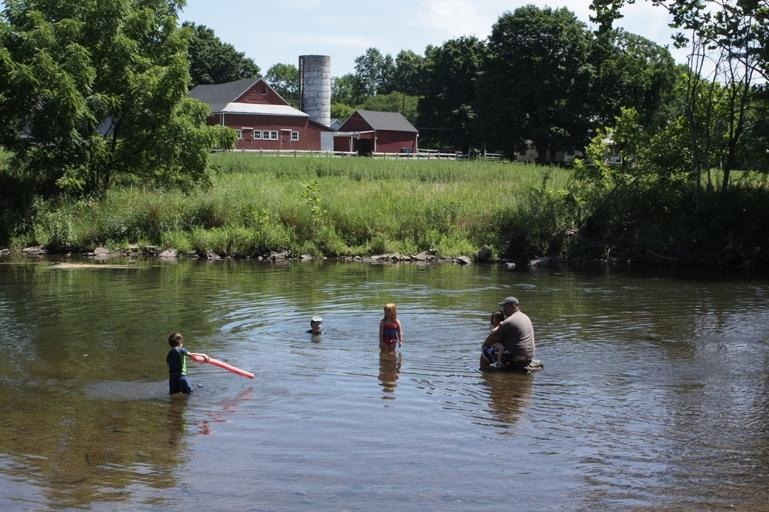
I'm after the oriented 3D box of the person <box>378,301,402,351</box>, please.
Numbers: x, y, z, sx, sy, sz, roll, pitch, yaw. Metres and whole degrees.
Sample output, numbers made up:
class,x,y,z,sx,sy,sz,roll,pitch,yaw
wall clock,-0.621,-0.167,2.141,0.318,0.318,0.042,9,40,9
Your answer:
class,x,y,z,sx,sy,sz,roll,pitch,yaw
person,0.155,2.082,31.701,0.653,1.357,0.552,0,3,-1

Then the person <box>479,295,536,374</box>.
class,x,y,z,sx,sy,sz,roll,pitch,yaw
person,3.537,2.224,30.555,1.476,2.034,0.616,0,3,5

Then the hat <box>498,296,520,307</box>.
class,x,y,z,sx,sy,sz,roll,pitch,yaw
hat,3.571,1.256,30.824,0.575,0.272,0.394,1,-6,9
